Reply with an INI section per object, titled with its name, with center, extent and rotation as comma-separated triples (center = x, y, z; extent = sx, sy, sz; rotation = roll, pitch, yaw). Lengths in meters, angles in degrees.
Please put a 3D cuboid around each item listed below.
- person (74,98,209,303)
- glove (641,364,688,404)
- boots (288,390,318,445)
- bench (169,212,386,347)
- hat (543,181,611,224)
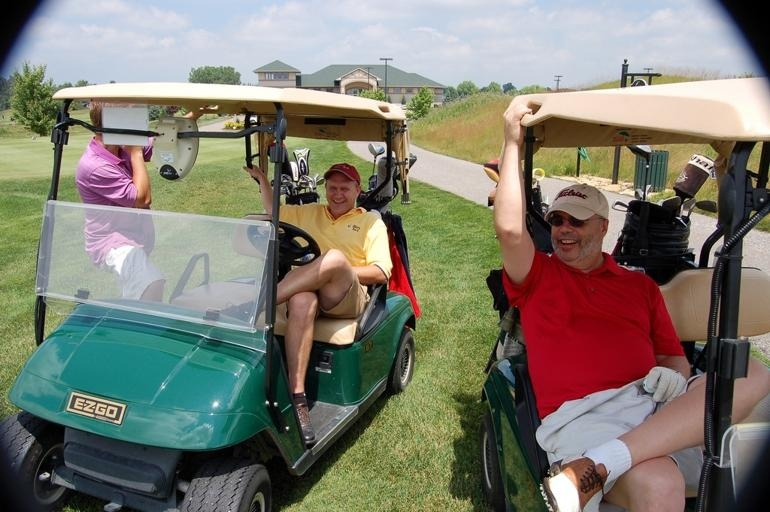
[person]
center = -1.584, -0.359, 3.181
extent = 0.455, 1.083, 0.972
rotation = -4, 12, -30
[glove]
center = 1.378, 0.615, 2.605
extent = 0.177, 0.178, 0.077
rotation = 45, -4, 6
[boots]
center = -0.488, 0.912, 3.144
extent = 0.097, 0.135, 0.340
rotation = -10, 49, -14
[bench]
center = -0.765, 0.108, 2.972
extent = 0.912, 0.580, 0.483
rotation = -16, 18, -21
[hat]
center = 1.112, -0.305, 2.971
extent = 0.272, 0.155, 0.200
rotation = 6, -3, -37
